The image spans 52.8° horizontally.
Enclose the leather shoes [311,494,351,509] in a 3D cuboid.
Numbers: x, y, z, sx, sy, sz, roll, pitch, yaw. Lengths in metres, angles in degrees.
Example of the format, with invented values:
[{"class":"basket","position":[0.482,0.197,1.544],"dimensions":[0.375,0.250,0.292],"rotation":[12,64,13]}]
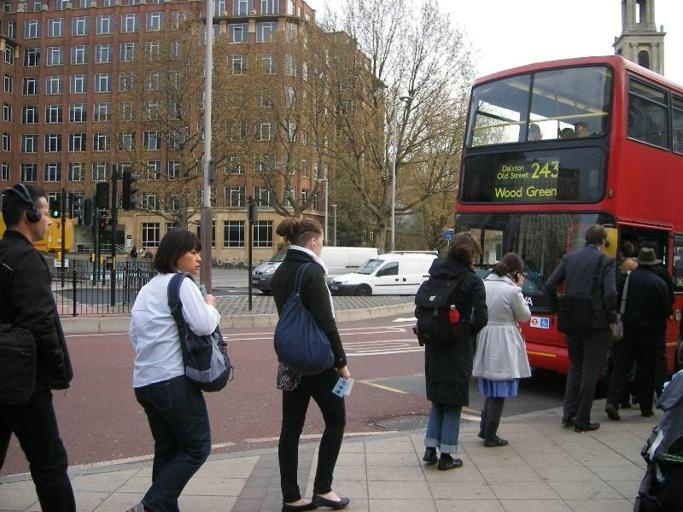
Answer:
[{"class":"leather shoes","position":[-0.097,2.054,5.832],"dimensions":[0.257,0.118,0.136],"rotation":[-2,-5,-12]}]

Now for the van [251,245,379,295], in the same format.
[{"class":"van","position":[-1.216,0.445,29.669],"dimensions":[4.513,1.835,2.296],"rotation":[2,-2,-29]}]

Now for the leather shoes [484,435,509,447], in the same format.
[{"class":"leather shoes","position":[1.648,1.954,7.370],"dimensions":[0.201,0.086,0.120],"rotation":[-3,4,-21]}]

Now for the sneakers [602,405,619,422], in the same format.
[{"class":"sneakers","position":[3.336,1.930,8.510],"dimensions":[0.093,0.122,0.264],"rotation":[-9,-35,29]}]

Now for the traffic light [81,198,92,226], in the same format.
[{"class":"traffic light","position":[-8.088,-1.404,21.809],"dimensions":[0.287,0.832,0.964],"rotation":[-1,6,-23]}]

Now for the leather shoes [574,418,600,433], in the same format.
[{"class":"leather shoes","position":[2.816,1.935,7.973],"dimensions":[0.326,0.144,0.119],"rotation":[-4,7,-26]}]

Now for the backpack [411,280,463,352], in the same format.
[{"class":"backpack","position":[0.911,0.560,6.727],"dimensions":[0.484,0.659,0.245],"rotation":[6,7,42]}]

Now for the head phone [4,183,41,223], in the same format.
[{"class":"head phone","position":[-2.398,-0.386,5.169],"dimensions":[0.095,0.227,0.246],"rotation":[-15,-1,-35]}]

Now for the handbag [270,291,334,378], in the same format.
[{"class":"handbag","position":[-0.303,0.621,5.611],"dimensions":[0.497,0.640,0.213],"rotation":[1,5,-1]}]

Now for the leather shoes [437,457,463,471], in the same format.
[{"class":"leather shoes","position":[1.040,2.009,6.702],"dimensions":[0.212,0.096,0.110],"rotation":[-7,6,-31]}]

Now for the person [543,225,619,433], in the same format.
[{"class":"person","position":[2.868,0.833,8.146],"dimensions":[0.636,2.364,0.683],"rotation":[0,5,-17]}]

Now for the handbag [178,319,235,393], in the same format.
[{"class":"handbag","position":[-1.056,0.757,5.272],"dimensions":[0.389,0.533,0.238],"rotation":[-1,5,-20]}]

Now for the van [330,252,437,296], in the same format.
[{"class":"van","position":[1.579,0.785,27.050],"dimensions":[3.242,1.361,1.899],"rotation":[1,-1,-20]}]

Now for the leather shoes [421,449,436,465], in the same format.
[{"class":"leather shoes","position":[0.856,1.958,6.713],"dimensions":[0.070,0.106,0.221],"rotation":[0,-2,13]}]
